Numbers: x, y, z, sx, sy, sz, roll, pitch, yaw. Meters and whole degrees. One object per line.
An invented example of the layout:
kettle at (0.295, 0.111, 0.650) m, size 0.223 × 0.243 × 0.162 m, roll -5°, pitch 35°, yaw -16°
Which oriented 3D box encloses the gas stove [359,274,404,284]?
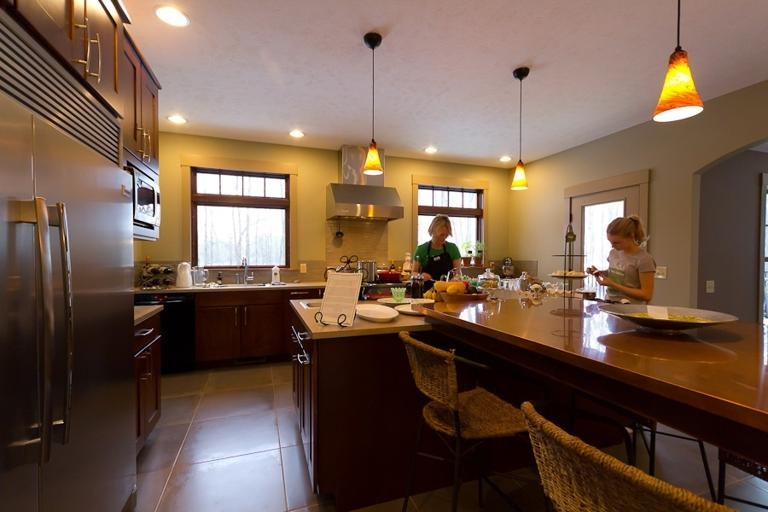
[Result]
gas stove at (0.000, 0.247, 6.315) m, size 0.465 × 0.119 × 0.279 m, roll 1°, pitch 0°, yaw -3°

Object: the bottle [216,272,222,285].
bottle at (-1.843, 0.242, 6.212) m, size 0.058 × 0.132 × 0.168 m, roll 1°, pitch 1°, yaw -17°

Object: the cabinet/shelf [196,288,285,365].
cabinet/shelf at (-1.605, 0.746, 6.025) m, size 0.961 × 0.804 × 0.482 m, roll 0°, pitch 0°, yaw -27°

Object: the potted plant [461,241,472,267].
potted plant at (1.143, -0.043, 7.480) m, size 0.144 × 0.223 × 0.221 m, roll 1°, pitch 0°, yaw 7°

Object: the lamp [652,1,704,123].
lamp at (2.062, -1.368, 3.838) m, size 0.273 × 0.750 × 0.968 m, roll 1°, pitch 1°, yaw 28°

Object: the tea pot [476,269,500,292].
tea pot at (0.830, 0.164, 4.230) m, size 0.201 × 0.194 × 0.201 m, roll 0°, pitch -10°, yaw 0°

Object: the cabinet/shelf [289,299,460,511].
cabinet/shelf at (-0.128, 1.000, 4.238) m, size 1.020 × 1.227 × 1.812 m, roll 1°, pitch -2°, yaw -14°

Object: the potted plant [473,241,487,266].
potted plant at (1.324, -0.038, 7.577) m, size 0.090 × 0.236 × 0.258 m, roll 1°, pitch 1°, yaw 34°

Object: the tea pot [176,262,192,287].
tea pot at (-2.122, 0.189, 5.869) m, size 0.167 × 0.262 × 0.288 m, roll 1°, pitch 1°, yaw -19°

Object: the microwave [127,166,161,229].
microwave at (-1.902, -0.460, 4.391) m, size 0.335 × 0.404 × 0.616 m, roll 0°, pitch 0°, yaw -11°

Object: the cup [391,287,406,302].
cup at (0.122, 0.290, 4.196) m, size 0.108 × 0.108 × 0.107 m, roll 0°, pitch -7°, yaw 0°

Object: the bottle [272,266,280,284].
bottle at (-1.253, 0.214, 6.414) m, size 0.106 × 0.200 × 0.311 m, roll 1°, pitch 0°, yaw -10°

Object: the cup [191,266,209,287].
cup at (-2.042, 0.213, 6.137) m, size 0.178 × 0.193 × 0.269 m, roll 1°, pitch 0°, yaw -19°

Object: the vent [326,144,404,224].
vent at (-0.237, -0.915, 6.663) m, size 0.942 × 0.894 × 0.541 m, roll 3°, pitch -1°, yaw -19°
